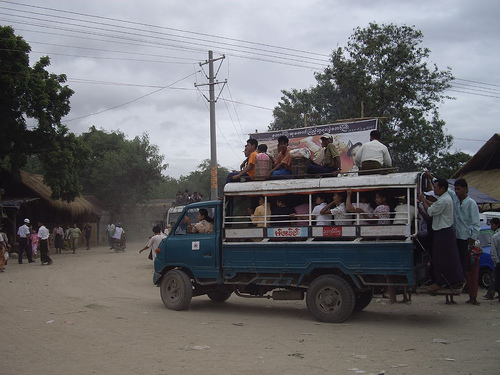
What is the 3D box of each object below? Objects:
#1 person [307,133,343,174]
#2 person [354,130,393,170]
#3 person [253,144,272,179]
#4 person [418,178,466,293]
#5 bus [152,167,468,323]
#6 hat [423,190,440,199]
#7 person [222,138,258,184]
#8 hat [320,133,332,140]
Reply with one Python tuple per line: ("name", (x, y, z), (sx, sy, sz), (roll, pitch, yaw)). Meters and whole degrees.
("person", (1.747, -0.845, 12.520), (0.921, 1.117, 0.876), (-3, -7, 26))
("person", (2.936, -0.905, 12.331), (0.809, 1.031, 0.719), (0, -4, 5))
("person", (0.269, -0.654, 12.781), (0.426, 0.775, 0.443), (1, 1, 32))
("person", (4.237, 1.036, 11.411), (0.891, 2.550, 0.984), (-1, -3, 23))
("bus", (0.737, 1.260, 13.041), (6.642, 3.395, 2.894), (-1, -2, 9))
("hat", (4.290, 0.134, 12.388), (0.339, 0.139, 0.255), (2, -2, -44))
("person", (-0.243, -0.431, 13.059), (0.867, 1.674, 0.777), (6, -11, -5))
("hat", (1.888, -1.257, 12.642), (0.344, 0.168, 0.234), (3, -5, -39))
